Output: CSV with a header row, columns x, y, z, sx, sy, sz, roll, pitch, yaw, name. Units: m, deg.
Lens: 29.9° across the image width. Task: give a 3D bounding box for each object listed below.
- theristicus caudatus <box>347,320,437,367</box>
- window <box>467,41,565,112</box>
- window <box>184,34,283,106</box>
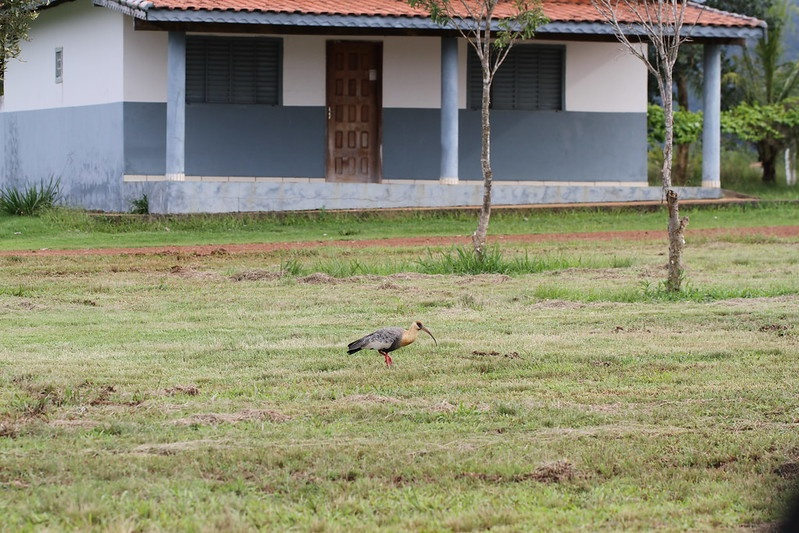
x,y,z,sx,sy,sz,roll,pitch,yaw,name
-0.141,1.112,22.189,1.400,0.760,0.423,5,13,22,theristicus caudatus
2.641,-4.401,34.459,2.167,1.659,0.180,-1,3,-9,window
-3.931,-4.561,34.631,1.605,1.238,0.128,0,1,-9,window
